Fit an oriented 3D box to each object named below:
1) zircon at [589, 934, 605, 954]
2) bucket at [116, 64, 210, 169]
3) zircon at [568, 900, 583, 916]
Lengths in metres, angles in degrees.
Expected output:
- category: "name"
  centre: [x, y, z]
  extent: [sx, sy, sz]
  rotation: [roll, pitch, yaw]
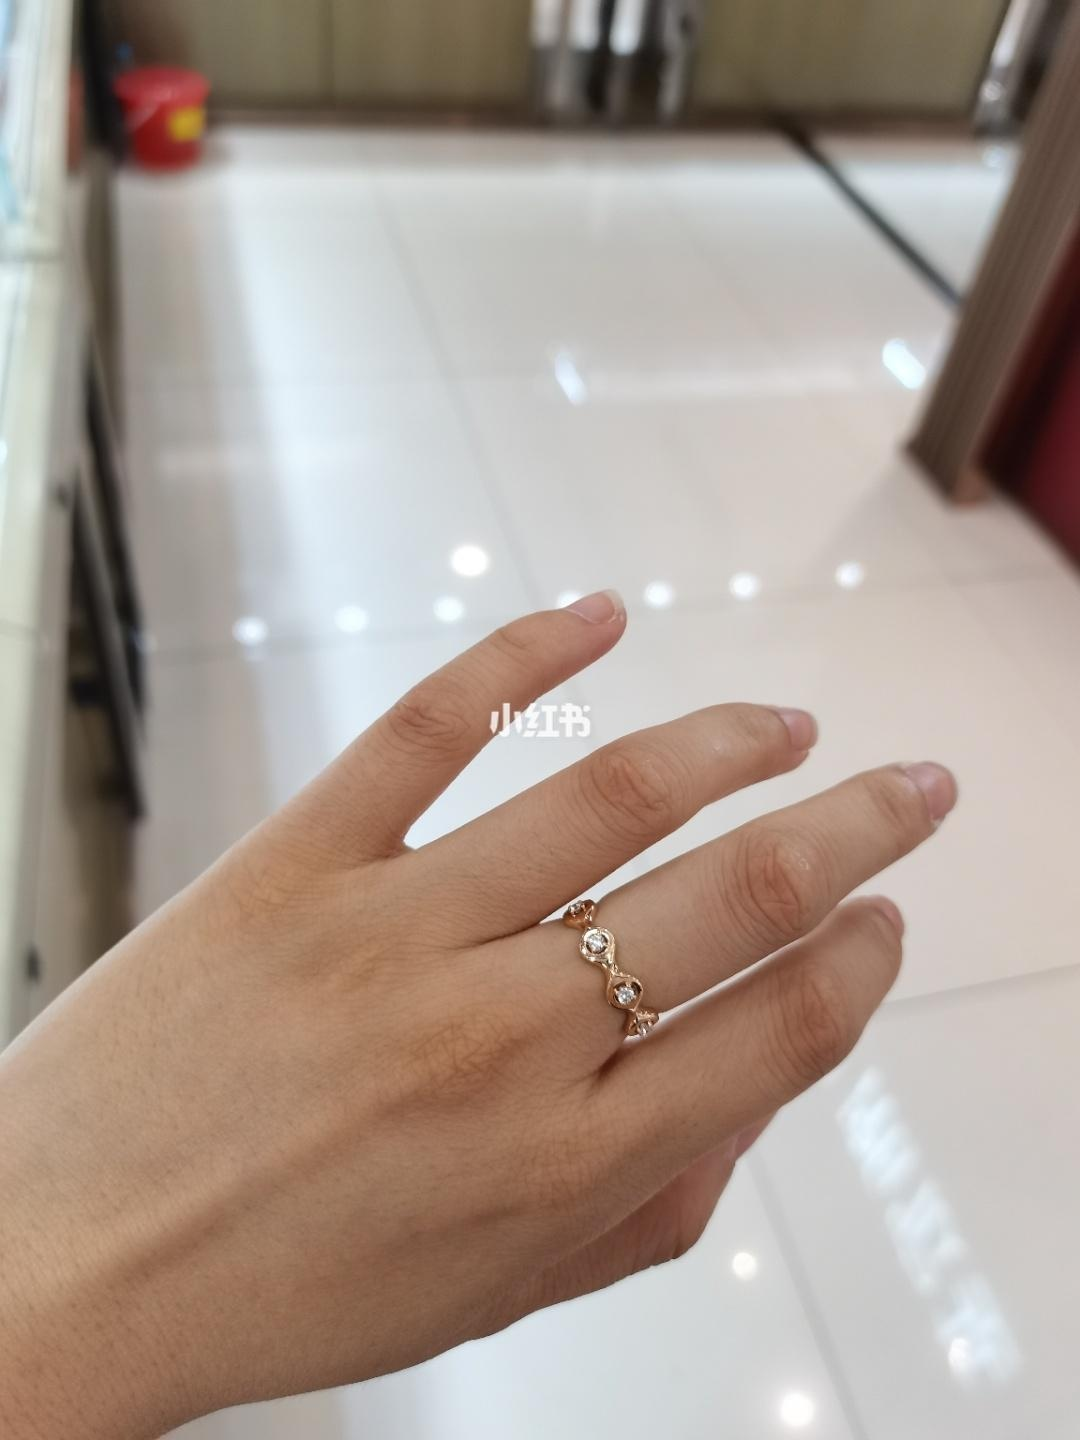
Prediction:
- category: "zircon"
  centre: [0.016, 0.065, 0.337]
  extent: [0.004, 0.002, 0.005]
  rotation: [-15, 70, 7]
- category: "bucket"
  centre: [-0.225, -0.364, 0.711]
  extent: [0.053, 0.044, 0.059]
  rotation: [-7, 47, -14]
- category: "zircon"
  centre: [0.010, 0.055, 0.344]
  extent: [0.003, 0.001, 0.004]
  rotation: [-5, 33, 28]
